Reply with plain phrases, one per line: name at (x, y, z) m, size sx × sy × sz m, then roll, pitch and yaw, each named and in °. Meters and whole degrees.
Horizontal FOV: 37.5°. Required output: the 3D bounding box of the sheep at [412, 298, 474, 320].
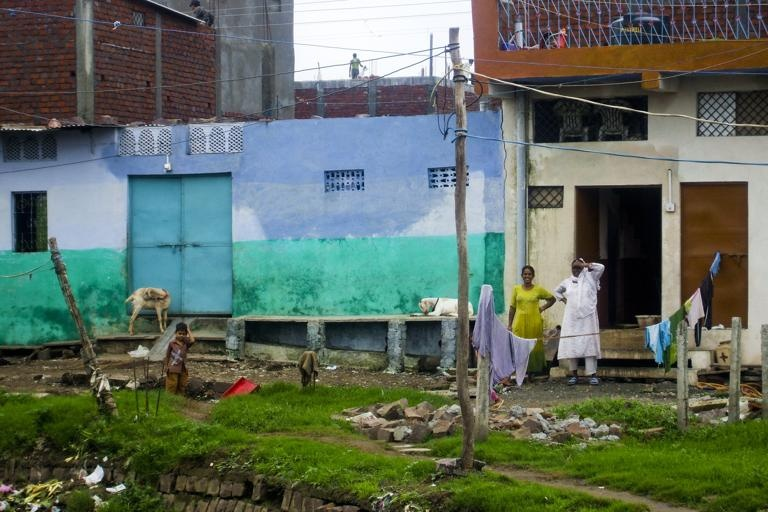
sheep at (1.275, 1.200, 26.798) m, size 0.892 × 0.328 × 0.650 m, roll -2°, pitch -1°, yaw 12°

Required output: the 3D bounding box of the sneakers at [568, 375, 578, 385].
sneakers at (4.082, 2.691, 24.506) m, size 0.113 × 0.135 × 0.300 m, roll -2°, pitch -9°, yaw 21°

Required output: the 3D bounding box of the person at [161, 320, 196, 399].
person at (-4.324, 2.145, 23.820) m, size 0.601 × 1.469 × 0.755 m, roll -1°, pitch -1°, yaw -12°

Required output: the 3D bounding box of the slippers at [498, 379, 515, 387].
slippers at (2.617, 2.752, 24.535) m, size 0.504 × 0.169 × 0.396 m, roll 2°, pitch -5°, yaw -27°

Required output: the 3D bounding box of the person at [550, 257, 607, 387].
person at (4.213, 1.407, 24.284) m, size 0.991 × 2.055 × 0.851 m, roll -2°, pitch -1°, yaw 26°

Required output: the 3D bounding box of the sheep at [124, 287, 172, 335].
sheep at (-5.946, 1.372, 28.498) m, size 1.083 × 1.167 × 0.742 m, roll -2°, pitch -1°, yaw -6°

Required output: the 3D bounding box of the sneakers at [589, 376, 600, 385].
sneakers at (4.527, 2.670, 24.361) m, size 0.131 × 0.110 × 0.220 m, roll 1°, pitch 4°, yaw 13°
